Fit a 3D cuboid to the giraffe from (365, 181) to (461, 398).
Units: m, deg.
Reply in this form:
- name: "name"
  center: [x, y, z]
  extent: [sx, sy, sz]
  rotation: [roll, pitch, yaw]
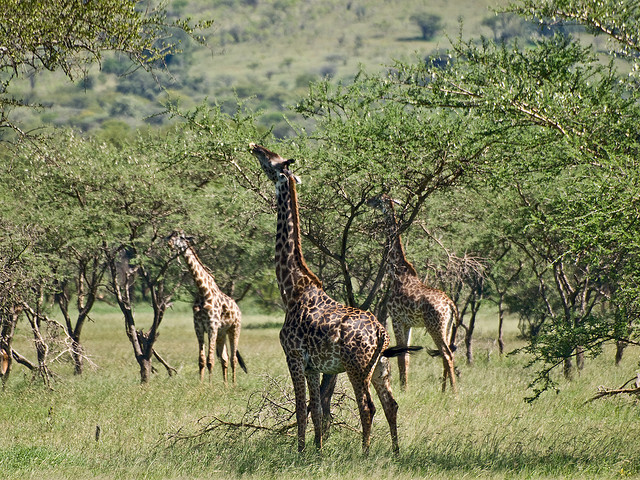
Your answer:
- name: "giraffe"
  center: [2.646, 1.891, 45.744]
  extent: [2.482, 7.669, 2.839]
  rotation: [-1, 1, 29]

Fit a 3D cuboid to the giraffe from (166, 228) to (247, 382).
- name: "giraffe"
  center: [-3.749, 2.259, 47.780]
  extent: [2.314, 5.552, 3.179]
  rotation: [0, 9, -1]
